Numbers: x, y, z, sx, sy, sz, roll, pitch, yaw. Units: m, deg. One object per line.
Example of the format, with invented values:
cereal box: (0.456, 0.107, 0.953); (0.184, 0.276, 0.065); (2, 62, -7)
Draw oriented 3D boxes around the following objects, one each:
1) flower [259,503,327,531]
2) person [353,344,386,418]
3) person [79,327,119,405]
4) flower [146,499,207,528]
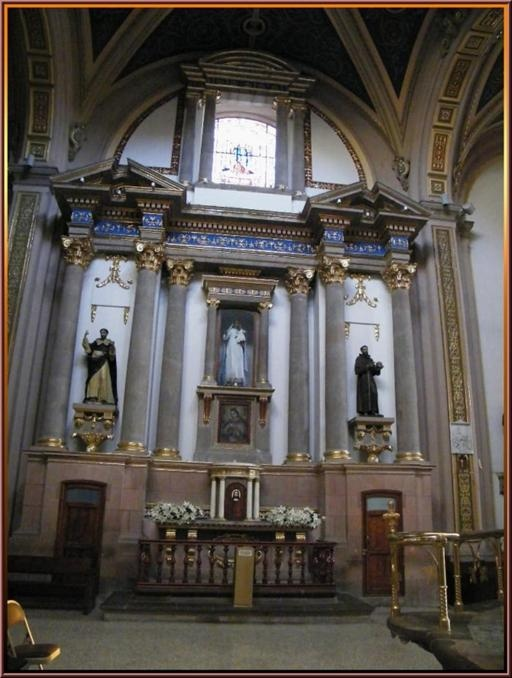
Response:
flower: (0.564, 2.780, 9.310); (0.780, 0.430, 0.191); (4, -55, 8)
person: (2.006, 0.844, 10.624); (0.476, 1.090, 0.338); (-2, -15, 16)
person: (-2.686, 0.474, 10.348); (0.654, 1.437, 0.489); (4, -15, -8)
flower: (-1.201, 2.692, 9.210); (1.013, 0.308, 0.608); (6, -15, -16)
